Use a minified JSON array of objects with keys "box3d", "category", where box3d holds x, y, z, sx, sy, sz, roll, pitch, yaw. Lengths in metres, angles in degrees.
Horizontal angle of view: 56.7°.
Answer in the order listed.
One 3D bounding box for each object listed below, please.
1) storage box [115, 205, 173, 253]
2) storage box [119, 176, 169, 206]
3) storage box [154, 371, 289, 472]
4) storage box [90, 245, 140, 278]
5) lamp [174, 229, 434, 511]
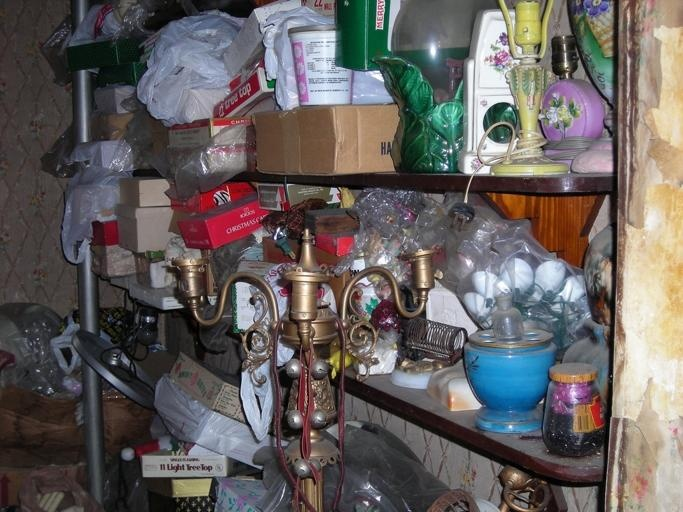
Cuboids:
[{"box3d":[-0.664,-0.096,2.154,0.162,0.134,0.158,0,4,-40],"category":"storage box"},{"box3d":[-0.659,-0.218,2.129,0.119,0.080,0.123,-2,11,-20],"category":"storage box"},{"box3d":[-0.405,0.495,2.073,0.323,0.105,0.258,25,-10,22],"category":"storage box"},{"box3d":[-0.813,0.014,2.310,0.136,0.146,0.138,0,0,-29],"category":"storage box"},{"box3d":[-0.068,0.173,1.313,0.492,0.597,0.501,0,-3,6],"category":"lamp"}]
